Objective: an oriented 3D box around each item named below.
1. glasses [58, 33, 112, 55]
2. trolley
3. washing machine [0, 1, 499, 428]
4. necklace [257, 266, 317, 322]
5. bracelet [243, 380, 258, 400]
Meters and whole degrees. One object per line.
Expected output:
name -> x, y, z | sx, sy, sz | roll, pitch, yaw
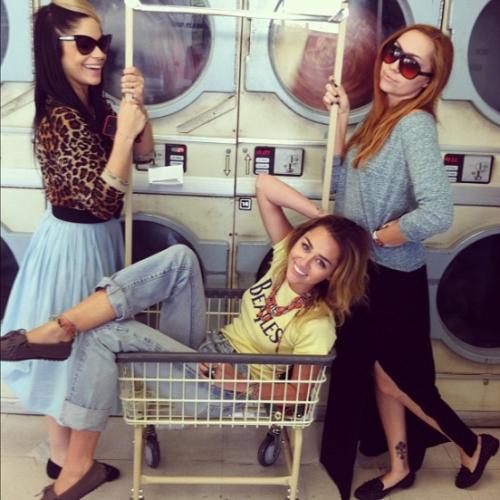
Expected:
glasses -> -0.567, -0.698, 1.797 | 0.112, 0.114, 0.041 | 9, 102, 41
trolley -> -0.095, 0.572, 1.991 | 0.955, 0.704, 0.733 | 0, 91, -5
washing machine -> -0.199, -0.097, 2.433 | 1.655, 0.894, 1.051 | 0, 90, -5
necklace -> 0.126, 0.175, 1.819 | 0.179, 0.031, 0.123 | -35, 62, 0
bracelet -> 0.002, 0.476, 1.731 | 0.055, 0.105, 0.072 | -1, 58, 1
